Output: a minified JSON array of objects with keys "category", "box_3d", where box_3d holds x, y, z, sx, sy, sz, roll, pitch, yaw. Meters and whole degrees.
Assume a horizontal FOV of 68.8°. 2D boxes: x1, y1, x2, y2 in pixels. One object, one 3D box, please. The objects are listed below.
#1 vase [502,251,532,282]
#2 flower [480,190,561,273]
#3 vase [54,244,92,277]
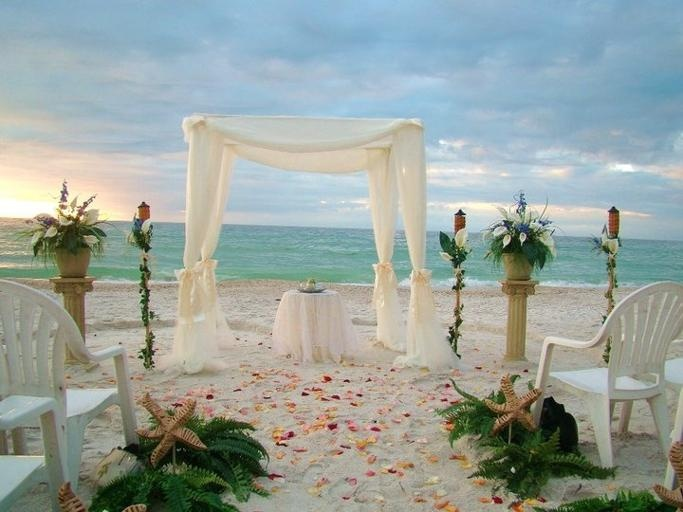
[{"category":"vase","box_3d":[2.432,0.156,6.971,0.429,0.255,0.383,1,-4,-6]},{"category":"flower","box_3d":[2.469,-0.249,6.996,0.979,0.964,1.180,3,-1,37]},{"category":"vase","box_3d":[-3.568,0.064,6.637,0.457,0.297,0.429,1,5,-34]}]
